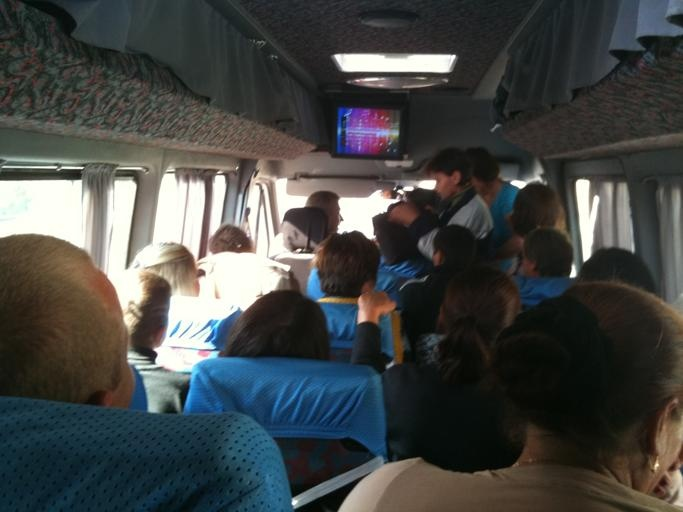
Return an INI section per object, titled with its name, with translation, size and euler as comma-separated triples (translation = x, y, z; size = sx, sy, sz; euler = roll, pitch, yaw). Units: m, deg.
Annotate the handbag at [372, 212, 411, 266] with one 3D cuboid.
[handbag]
translation = 0.378, -0.127, 4.155
size = 0.145, 0.329, 0.333
euler = -17, 27, -42
